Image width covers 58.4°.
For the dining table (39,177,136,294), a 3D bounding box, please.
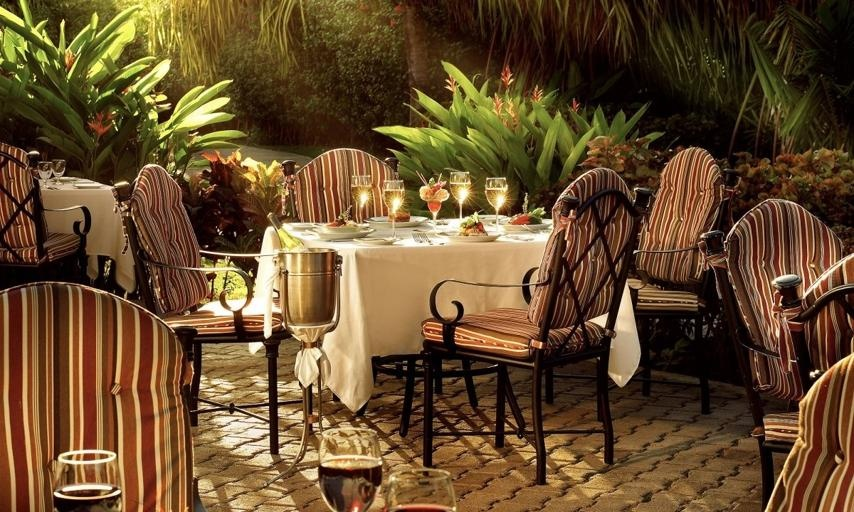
[{"bbox_3d":[-2.552,-0.137,5.759,0.960,0.981,0.546,1,0,-4],"label":"dining table"}]
